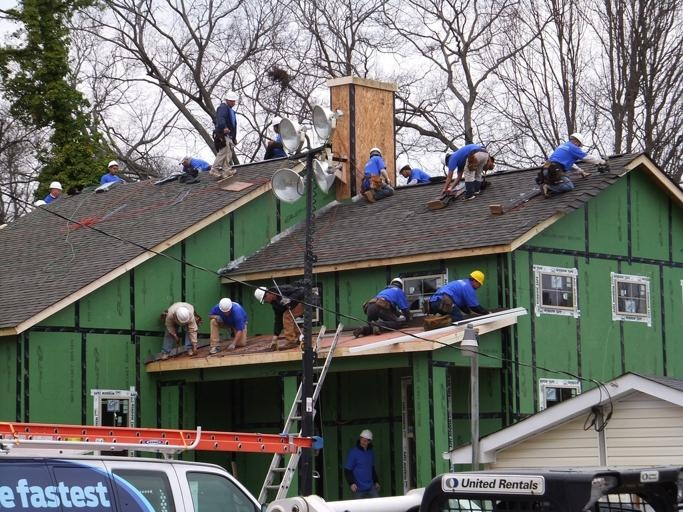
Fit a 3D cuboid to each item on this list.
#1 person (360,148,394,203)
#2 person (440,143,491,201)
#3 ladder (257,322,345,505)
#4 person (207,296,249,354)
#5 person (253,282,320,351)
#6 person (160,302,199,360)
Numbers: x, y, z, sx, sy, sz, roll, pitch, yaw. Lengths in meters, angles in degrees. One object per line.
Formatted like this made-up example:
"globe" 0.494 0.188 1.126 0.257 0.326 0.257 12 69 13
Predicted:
"person" 0.984 -2.089 47.413 0.817 1.541 0.811 4 -9 -29
"person" 3.302 -1.986 45.129 1.228 1.259 1.353 -1 -10 -9
"ladder" -0.984 4.036 40.101 1.700 4.823 1.478 0 -6 -27
"person" -2.758 1.770 43.202 0.870 1.377 1.390 11 30 15
"person" -1.312 1.498 41.891 1.463 1.421 1.121 -4 -18 -10
"person" -3.953 1.984 43.547 0.882 1.385 0.766 -1 -7 41
